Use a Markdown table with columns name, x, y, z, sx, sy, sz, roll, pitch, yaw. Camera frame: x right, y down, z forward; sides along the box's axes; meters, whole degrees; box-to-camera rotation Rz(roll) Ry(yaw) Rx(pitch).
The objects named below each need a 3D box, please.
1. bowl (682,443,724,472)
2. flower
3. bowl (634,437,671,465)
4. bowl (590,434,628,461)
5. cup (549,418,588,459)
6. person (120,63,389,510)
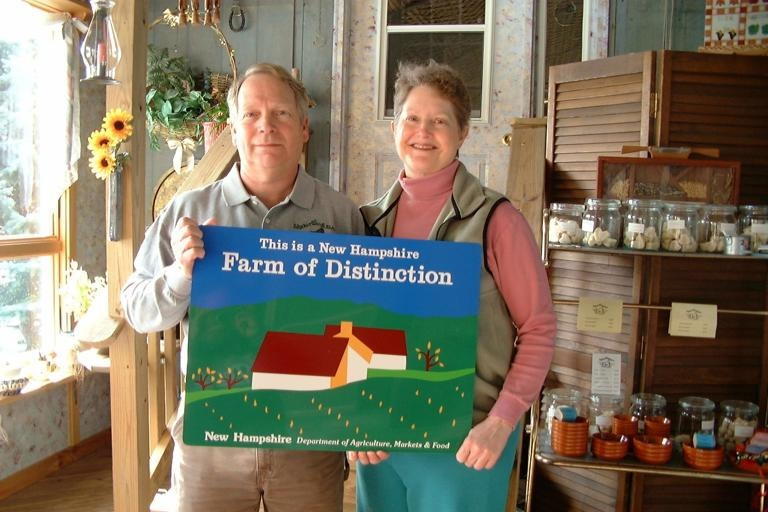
| name | x | y | z | sx | sy | sz | roll | pitch | yaw |
| --- | --- | --- | --- | --- | --- | --- | --- | --- | --- |
| bowl | 1.457 | 0.910 | 2.967 | 0.123 | 0.072 | 0.117 | 0 | -6 | 0 |
| flower | -1.323 | -0.544 | 3.162 | 0.264 | 0.115 | 0.449 | -46 | 7 | -12 |
| bowl | 1.237 | 0.893 | 2.977 | 0.124 | 0.084 | 0.136 | 0 | -17 | 10 |
| bowl | 1.040 | 0.879 | 2.980 | 0.122 | 0.070 | 0.136 | 2 | -10 | -10 |
| cup | 0.859 | 0.839 | 2.977 | 0.168 | 0.161 | 0.167 | 1 | -6 | 0 |
| person | -0.537 | 0.150 | 2.515 | 0.892 | 1.756 | 0.478 | -1 | 5 | -23 |
